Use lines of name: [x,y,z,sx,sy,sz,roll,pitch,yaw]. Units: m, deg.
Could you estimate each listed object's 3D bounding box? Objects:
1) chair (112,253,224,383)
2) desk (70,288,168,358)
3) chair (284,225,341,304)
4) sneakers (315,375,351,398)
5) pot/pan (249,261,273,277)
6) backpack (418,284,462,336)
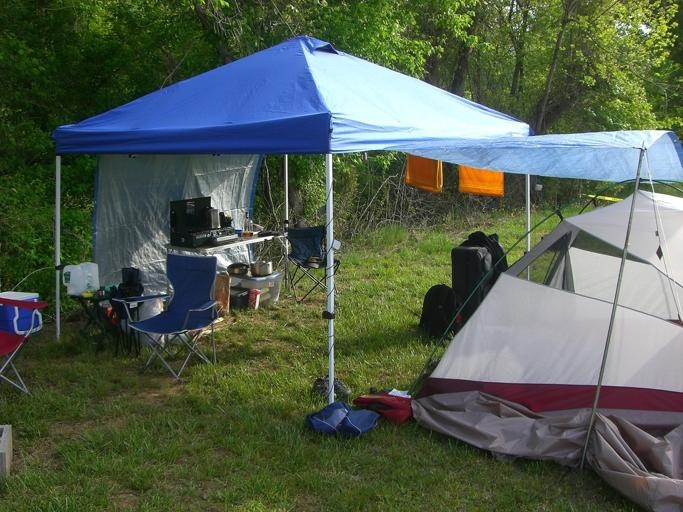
chair: [-1.720,0.598,7.992,0.831,1.220,0.960,4,4,-10]
desk: [-2.501,0.727,8.555,0.812,0.975,0.800,4,2,22]
chair: [-0.470,0.071,10.153,0.537,0.986,1.436,4,4,-2]
sneakers: [-0.091,1.274,7.338,0.256,0.137,0.206,2,3,21]
pot/pan: [-1.027,0.158,9.651,0.206,0.152,0.189,1,6,17]
backpack: [1.105,0.615,8.361,0.291,0.632,0.431,-4,9,-41]
